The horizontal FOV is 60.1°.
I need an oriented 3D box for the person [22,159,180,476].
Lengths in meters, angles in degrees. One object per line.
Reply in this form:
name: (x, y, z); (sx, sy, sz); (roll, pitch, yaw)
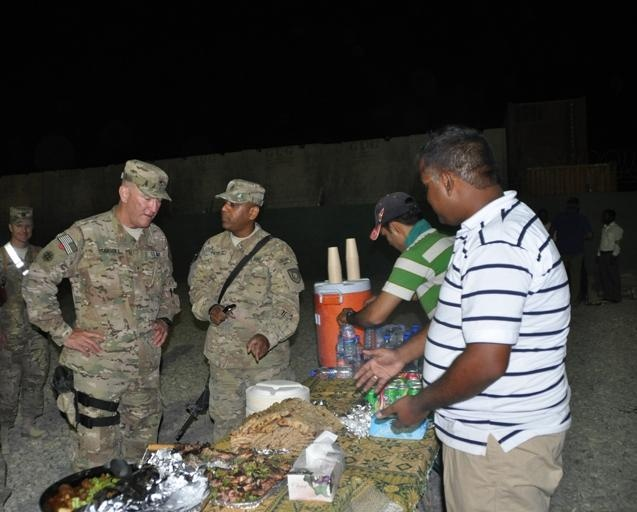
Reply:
person: (-1.667, 0.395, 4.291); (0.908, 2.756, 0.905); (11, 9, 37)

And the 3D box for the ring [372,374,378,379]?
ring: (0.311, 0.656, 3.036); (0.028, 0.010, 0.038); (1, 10, 6)

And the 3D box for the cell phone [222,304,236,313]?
cell phone: (-0.722, 0.411, 4.535); (0.106, 0.068, 0.099); (-30, -8, 6)

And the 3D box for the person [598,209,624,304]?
person: (6.147, 0.016, 11.619); (0.573, 2.211, 0.744); (-1, 2, 15)

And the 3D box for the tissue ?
tissue : (-0.011, 0.965, 2.556); (0.239, 0.253, 0.234); (2, 2, 5)

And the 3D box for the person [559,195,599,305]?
person: (5.181, -0.136, 10.885); (0.786, 2.603, 0.923); (0, 1, 19)

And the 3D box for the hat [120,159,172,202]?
hat: (-1.295, -0.605, 4.242); (0.425, 0.231, 0.315); (24, 10, -6)

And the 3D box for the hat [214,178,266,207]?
hat: (-0.653, -0.555, 4.744); (0.336, 0.168, 0.251); (9, 3, -16)

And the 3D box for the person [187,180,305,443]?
person: (-0.621, 0.398, 4.553); (0.864, 2.174, 1.066); (0, 1, -2)

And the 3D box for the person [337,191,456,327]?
person: (0.611, -0.003, 3.920); (0.679, 0.954, 0.685); (6, 10, 22)
